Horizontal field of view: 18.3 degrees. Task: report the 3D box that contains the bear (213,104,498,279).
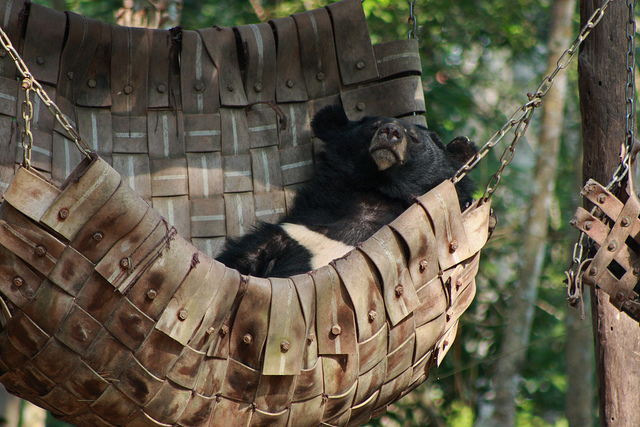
[{"bbox_3d":[0.247,-0.292,19.149,2.513,1.200,0.964,-19,34,-30],"label":"bear"}]
